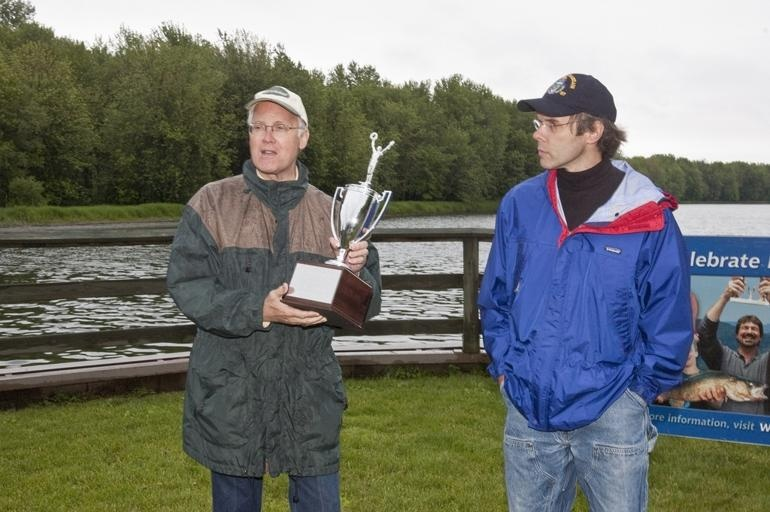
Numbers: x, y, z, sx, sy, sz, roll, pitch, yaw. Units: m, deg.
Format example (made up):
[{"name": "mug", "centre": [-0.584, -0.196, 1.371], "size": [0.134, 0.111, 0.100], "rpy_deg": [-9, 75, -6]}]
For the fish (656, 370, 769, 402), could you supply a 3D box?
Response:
[{"name": "fish", "centre": [2.946, 1.168, 7.257], "size": [0.883, 0.257, 0.193], "rpy_deg": [-3, -9, -3]}]

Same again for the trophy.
[{"name": "trophy", "centre": [-0.207, -0.204, 5.470], "size": [0.445, 1.369, 0.462], "rpy_deg": [7, -20, 31]}]
